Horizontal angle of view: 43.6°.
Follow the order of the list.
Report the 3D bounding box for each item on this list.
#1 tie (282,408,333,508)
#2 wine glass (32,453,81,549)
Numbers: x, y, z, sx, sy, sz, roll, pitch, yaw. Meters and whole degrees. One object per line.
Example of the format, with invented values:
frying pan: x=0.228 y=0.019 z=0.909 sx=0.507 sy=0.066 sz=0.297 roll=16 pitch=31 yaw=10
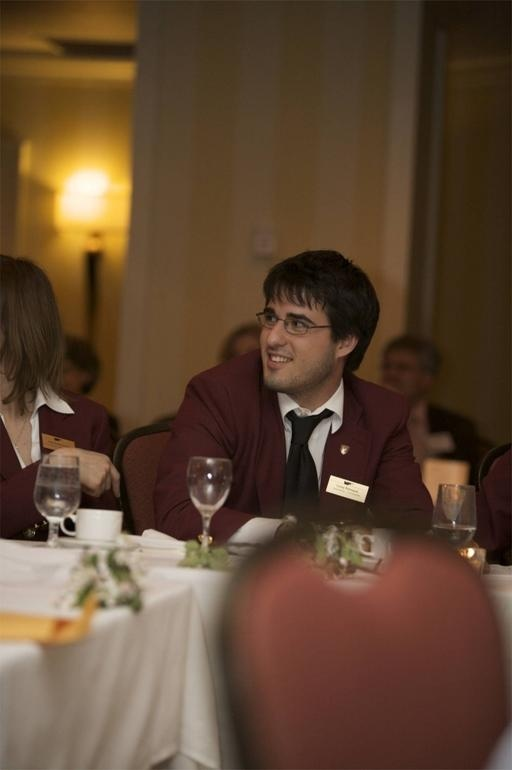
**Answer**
tie: x=0.143 y=0.199 z=1.782 sx=0.098 sy=0.268 sz=0.201 roll=-14 pitch=-8 yaw=32
wine glass: x=-0.346 y=0.194 z=1.119 sx=0.079 sy=0.162 sz=0.114 roll=-7 pitch=-7 yaw=-25
